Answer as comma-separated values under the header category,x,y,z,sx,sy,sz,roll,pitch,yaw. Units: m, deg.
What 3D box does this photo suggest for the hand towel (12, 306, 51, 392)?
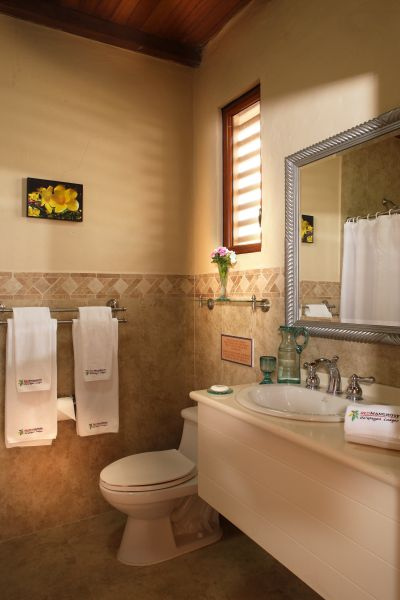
category,x,y,z,sx,sy,sz,roll,pitch,yaw
hand towel,-0.722,0.219,1.947,0.209,0.576,0.094,0,-1,-25

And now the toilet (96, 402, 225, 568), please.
category,x,y,z,sx,sy,sz,roll,pitch,yaw
toilet,-0.172,0.794,2.022,0.530,0.580,0.345,-1,3,-24

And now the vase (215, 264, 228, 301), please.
category,x,y,z,sx,sy,sz,roll,pitch,yaw
vase,0.107,-0.084,2.202,0.048,0.176,0.142,0,1,1

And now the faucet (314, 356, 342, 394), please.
category,x,y,z,sx,sy,sz,roll,pitch,yaw
faucet,0.443,0.254,1.546,0.084,0.130,0.059,-1,6,15

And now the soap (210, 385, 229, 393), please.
category,x,y,z,sx,sy,sz,roll,pitch,yaw
soap,0.071,0.331,1.673,0.068,0.014,0.057,0,1,1

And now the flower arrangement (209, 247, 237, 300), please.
category,x,y,z,sx,sy,sz,roll,pitch,yaw
flower arrangement,0.118,-0.122,2.163,0.071,0.257,0.127,0,5,-40

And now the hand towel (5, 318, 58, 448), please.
category,x,y,z,sx,sy,sz,roll,pitch,yaw
hand towel,-0.729,0.312,1.935,0.218,0.559,0.123,2,5,-37

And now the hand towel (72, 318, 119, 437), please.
category,x,y,z,sx,sy,sz,roll,pitch,yaw
hand towel,-0.503,0.408,2.143,0.175,0.636,0.140,1,5,-36

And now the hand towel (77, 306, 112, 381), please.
category,x,y,z,sx,sy,sz,roll,pitch,yaw
hand towel,-0.490,0.225,2.128,0.182,0.416,0.060,-3,13,-25

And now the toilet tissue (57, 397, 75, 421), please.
category,x,y,z,sx,sy,sz,roll,pitch,yaw
toilet tissue,-0.627,0.508,2.104,0.075,0.095,0.097,0,1,-16
